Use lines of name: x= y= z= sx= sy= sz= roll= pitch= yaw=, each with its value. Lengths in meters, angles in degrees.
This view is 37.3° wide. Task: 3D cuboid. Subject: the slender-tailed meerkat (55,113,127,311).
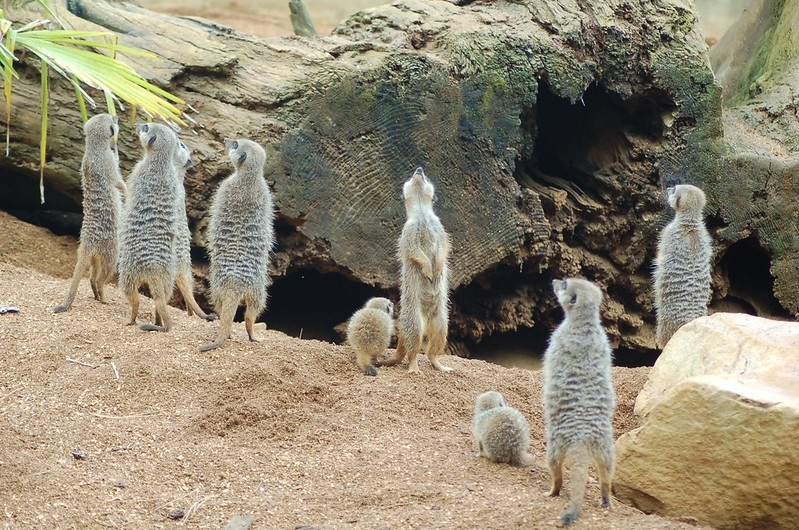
slender-tailed meerkat: x=-3.008 y=-0.528 z=11.800 sx=0.511 sy=1.947 sz=0.620 roll=9 pitch=7 yaw=-15

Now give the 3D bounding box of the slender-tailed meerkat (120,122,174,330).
slender-tailed meerkat: x=-2.383 y=-0.371 z=11.527 sx=0.617 sy=1.986 sz=0.510 roll=9 pitch=7 yaw=-13

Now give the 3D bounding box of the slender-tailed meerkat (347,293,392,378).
slender-tailed meerkat: x=-0.255 y=0.666 z=11.415 sx=0.384 sy=0.473 sz=0.762 roll=1 pitch=46 yaw=11
